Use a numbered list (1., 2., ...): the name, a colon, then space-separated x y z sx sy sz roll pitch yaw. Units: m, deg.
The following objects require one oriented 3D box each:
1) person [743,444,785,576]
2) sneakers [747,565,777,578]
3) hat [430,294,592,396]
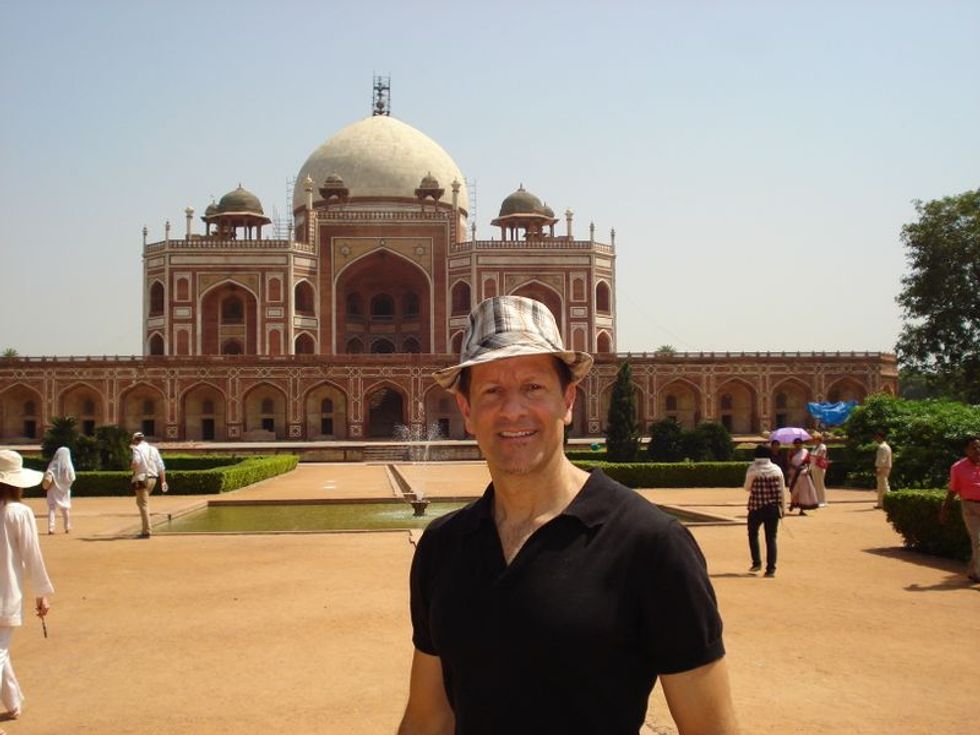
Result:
1. person: 2.685 1.352 11.930 0.380 1.204 1.521 -1 -2 12
2. sneakers: 2.536 1.918 11.351 0.298 0.123 0.090 -9 -9 20
3. hat: 0.078 -0.162 5.968 0.562 0.288 0.567 -7 -14 15
